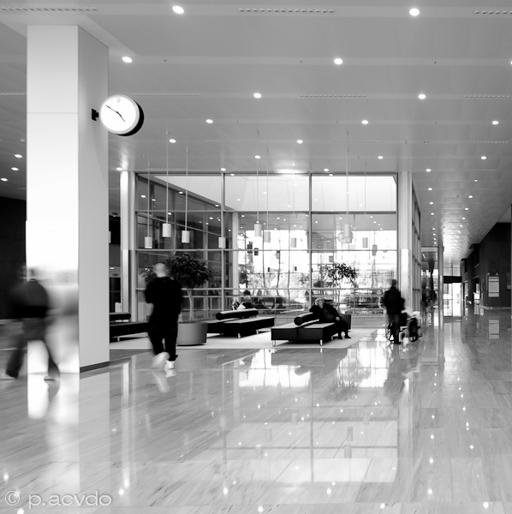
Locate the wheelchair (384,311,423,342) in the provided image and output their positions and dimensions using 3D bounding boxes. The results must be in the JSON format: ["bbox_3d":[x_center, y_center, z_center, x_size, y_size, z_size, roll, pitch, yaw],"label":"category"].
[{"bbox_3d":[4.385,2.014,14.644,0.826,1.516,1.363,-2,-11,17],"label":"wheelchair"}]

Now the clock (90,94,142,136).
[{"bbox_3d":[-2.388,-2.536,8.664,0.737,0.661,0.246,-1,-3,6],"label":"clock"}]

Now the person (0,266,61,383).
[{"bbox_3d":[-3.640,1.090,7.933,0.809,1.817,0.780,0,-3,-25],"label":"person"}]

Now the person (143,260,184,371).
[{"bbox_3d":[-1.658,1.084,8.774,0.657,1.921,0.534,-1,-3,5],"label":"person"}]

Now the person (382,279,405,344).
[{"bbox_3d":[3.850,1.520,13.553,0.530,1.749,1.023,-2,-3,16],"label":"person"}]

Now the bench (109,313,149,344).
[{"bbox_3d":[-4.018,2.282,15.278,1.093,0.373,1.431,0,-2,0],"label":"bench"}]

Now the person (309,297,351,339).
[{"bbox_3d":[2.070,1.734,14.602,0.439,1.216,0.657,7,-31,-18],"label":"person"}]

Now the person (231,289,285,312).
[{"bbox_3d":[0.202,1.825,20.171,2.225,0.948,0.769,0,0,8],"label":"person"}]
